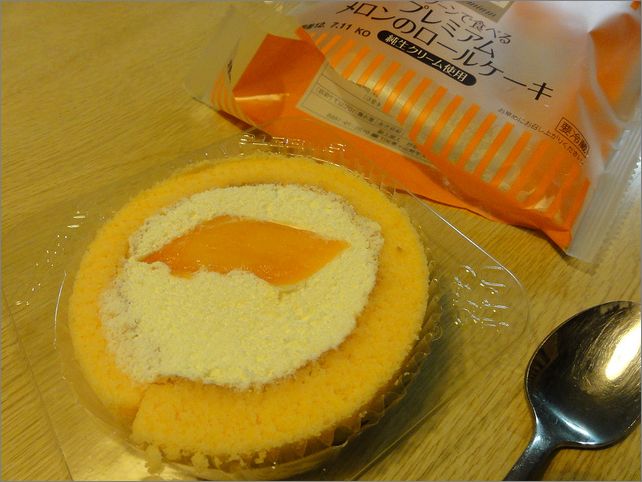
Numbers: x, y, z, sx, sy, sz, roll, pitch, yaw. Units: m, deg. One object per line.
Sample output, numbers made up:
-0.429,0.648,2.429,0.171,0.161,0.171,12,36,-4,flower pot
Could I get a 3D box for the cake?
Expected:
-0.192,0.162,1.456,0.841,0.407,0.719,22,54,-15,cake
